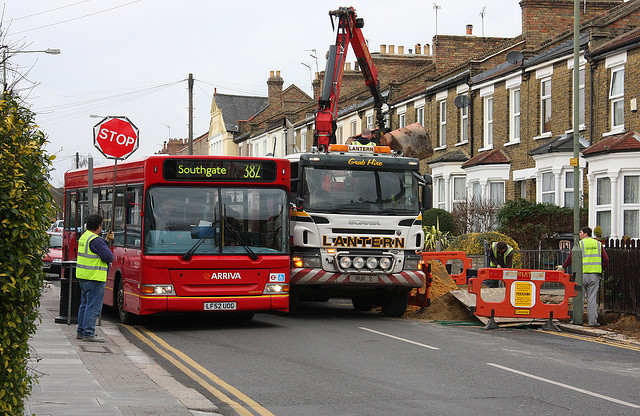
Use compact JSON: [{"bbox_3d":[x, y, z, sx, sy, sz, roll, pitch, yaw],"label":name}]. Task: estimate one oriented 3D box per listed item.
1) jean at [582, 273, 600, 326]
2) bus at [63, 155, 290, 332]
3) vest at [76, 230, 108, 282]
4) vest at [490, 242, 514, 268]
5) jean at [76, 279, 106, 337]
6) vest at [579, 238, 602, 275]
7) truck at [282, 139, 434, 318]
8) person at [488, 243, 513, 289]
[{"bbox_3d":[6.649,2.241,20.344,0.374,1.231,0.667,2,4,19],"label":"jean"},{"bbox_3d":[-4.396,0.747,22.821,3.844,4.230,9.541,2,-2,-25],"label":"bus"},{"bbox_3d":[-4.807,0.999,17.217,0.628,1.068,0.371,0,4,-10],"label":"vest"},{"bbox_3d":[4.876,1.288,22.265,0.726,0.802,0.438,6,14,21],"label":"vest"},{"bbox_3d":[-4.793,2.048,17.098,0.531,1.165,0.722,0,4,-16],"label":"jean"},{"bbox_3d":[6.739,1.198,20.577,0.554,0.902,0.315,2,4,17],"label":"vest"},{"bbox_3d":[0.375,0.636,23.846,3.790,4.284,7.360,3,-4,-10],"label":"truck"},{"bbox_3d":[4.810,1.636,22.118,0.611,1.436,3.435,2,4,12],"label":"person"}]
